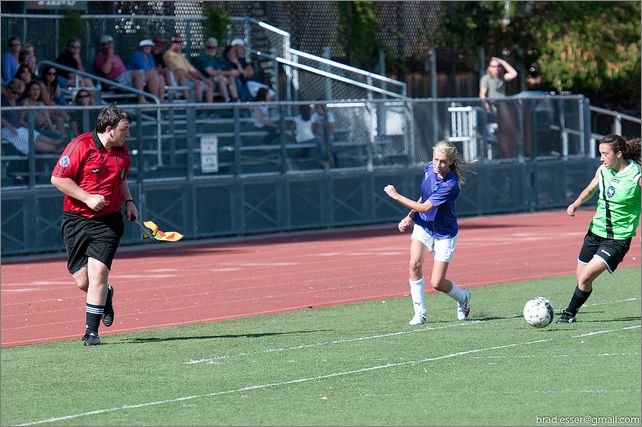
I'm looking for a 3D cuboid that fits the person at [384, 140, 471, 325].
[{"bbox_3d":[1.548,0.294,13.181,0.995,2.602,1.013,0,9,8],"label":"person"}]

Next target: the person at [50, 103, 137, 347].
[{"bbox_3d":[-2.990,0.196,12.467,1.005,3.197,0.579,-4,9,-17],"label":"person"}]

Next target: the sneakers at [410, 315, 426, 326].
[{"bbox_3d":[1.347,1.487,13.335,0.223,0.222,0.118,6,6,-9],"label":"sneakers"}]

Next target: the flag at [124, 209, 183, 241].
[{"bbox_3d":[-3.210,0.207,17.776,0.756,0.198,0.446,21,24,18],"label":"flag"}]

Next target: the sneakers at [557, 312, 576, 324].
[{"bbox_3d":[3.469,1.436,13.213,0.322,0.141,0.109,0,0,-13],"label":"sneakers"}]

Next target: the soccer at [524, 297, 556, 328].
[{"bbox_3d":[2.994,1.326,12.971,0.378,0.389,0.384,4,-1,8],"label":"soccer"}]

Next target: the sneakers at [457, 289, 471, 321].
[{"bbox_3d":[2.053,1.313,13.552,0.147,0.454,0.194,13,12,40],"label":"sneakers"}]

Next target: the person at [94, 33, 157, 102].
[{"bbox_3d":[-4.753,-3.511,22.656,1.518,1.453,0.504,1,9,14],"label":"person"}]
